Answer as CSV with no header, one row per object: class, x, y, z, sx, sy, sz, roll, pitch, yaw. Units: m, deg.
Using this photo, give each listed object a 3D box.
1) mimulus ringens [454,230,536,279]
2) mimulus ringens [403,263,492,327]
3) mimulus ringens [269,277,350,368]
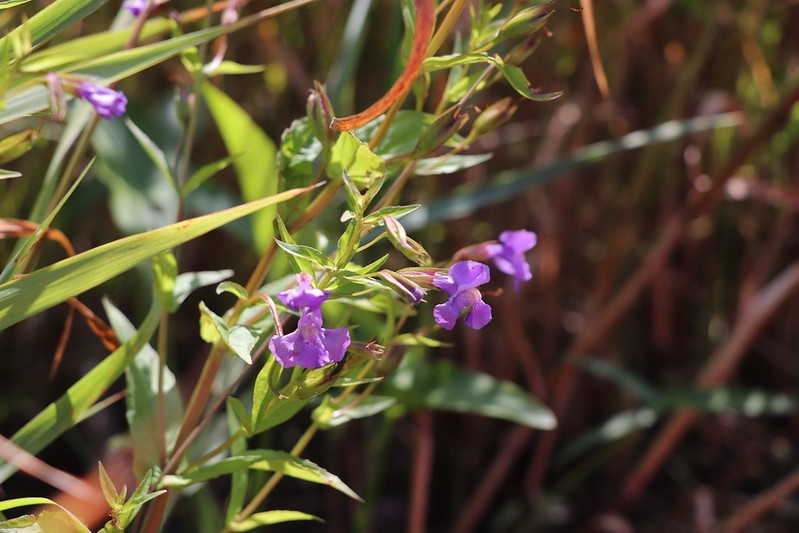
mimulus ringens,0.141,-0.014,1.153,0.098,0.065,0.070,13,-10,-1
mimulus ringens,0.078,0.038,1.036,0.101,0.092,0.067,-13,22,-25
mimulus ringens,-0.114,0.062,0.999,0.095,0.116,0.103,-3,29,1
